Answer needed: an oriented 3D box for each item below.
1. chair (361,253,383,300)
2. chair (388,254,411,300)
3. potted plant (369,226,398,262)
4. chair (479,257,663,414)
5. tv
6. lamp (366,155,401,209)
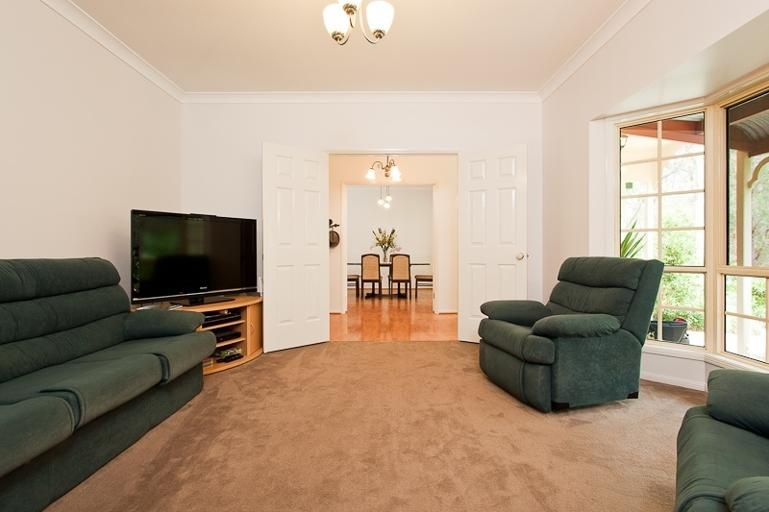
[{"bbox_3d":[-0.321,0.436,10.238,0.407,0.923,1.201,0,3,-4],"label":"chair"},{"bbox_3d":[0.301,0.433,10.170,0.439,0.926,1.139,1,3,-1],"label":"chair"},{"bbox_3d":[-0.001,-0.257,11.581,0.776,0.930,0.737,1,-15,-1],"label":"potted plant"},{"bbox_3d":[1.741,0.753,4.718,1.453,1.450,1.470,1,-6,-9],"label":"chair"},{"bbox_3d":[-2.127,0.058,5.104,0.295,0.778,1.147,2,0,45],"label":"tv"},{"bbox_3d":[0.034,-1.373,8.202,0.575,0.804,0.637,-4,9,-36],"label":"lamp"}]
